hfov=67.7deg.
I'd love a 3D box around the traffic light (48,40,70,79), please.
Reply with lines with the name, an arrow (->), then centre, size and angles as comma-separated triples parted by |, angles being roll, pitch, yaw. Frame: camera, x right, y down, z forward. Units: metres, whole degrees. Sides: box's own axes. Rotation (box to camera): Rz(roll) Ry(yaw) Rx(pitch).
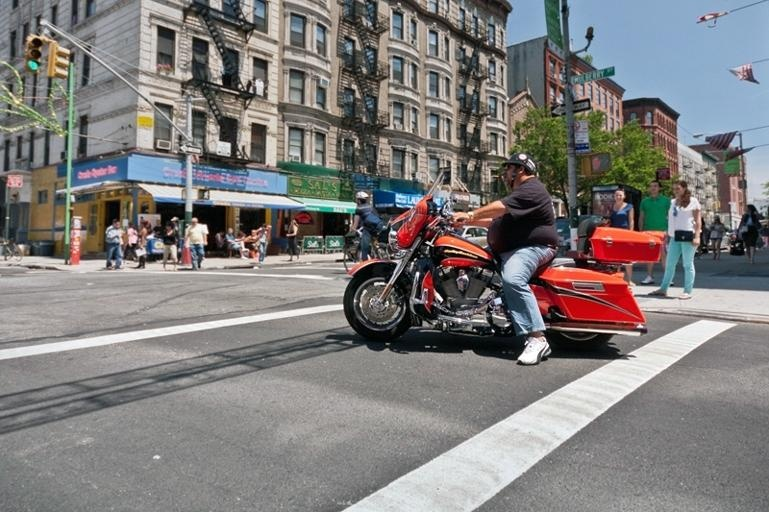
traffic light -> -9.256, -5.624, 16.284 | 0.559, 1.033, 1.001 | -7, 16, -29

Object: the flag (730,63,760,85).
flag -> 12.078, -6.172, 19.227 | 0.600, 0.571, 1.777 | 9, 17, 30

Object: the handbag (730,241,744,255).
handbag -> 15.606, -0.340, 25.267 | 0.585, 0.721, 0.605 | -6, 7, -18

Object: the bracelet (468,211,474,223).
bracelet -> 1.012, -0.465, 6.663 | 0.067, 0.111, 0.103 | 2, 37, 5

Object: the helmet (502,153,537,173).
helmet -> 1.669, -1.155, 7.041 | 0.347, 0.210, 0.256 | 12, -4, 11

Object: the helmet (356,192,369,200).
helmet -> -0.500, -1.448, 13.258 | 0.247, 0.244, 0.190 | -16, -14, 43

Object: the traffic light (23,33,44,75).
traffic light -> -9.244, -5.376, 15.123 | 0.475, 0.925, 0.659 | -7, 16, -27

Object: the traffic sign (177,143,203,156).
traffic sign -> -7.180, -3.999, 21.196 | 0.691, 0.488, 0.871 | -6, 16, -25

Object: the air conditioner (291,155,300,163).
air conditioner -> -4.708, -5.230, 30.682 | 0.557, 0.328, 0.407 | 6, -3, -9

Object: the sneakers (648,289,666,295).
sneakers -> 5.054, 0.690, 10.677 | 0.117, 0.159, 0.349 | 2, 1, -42

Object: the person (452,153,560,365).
person -> 1.557, 0.022, 6.848 | 1.005, 2.393, 1.209 | 5, 15, 17

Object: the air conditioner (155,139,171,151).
air conditioner -> -9.793, -4.923, 25.421 | 0.220, 0.453, 0.745 | 10, 17, 32

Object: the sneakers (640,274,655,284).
sneakers -> 5.755, 0.518, 12.400 | 0.454, 0.194, 0.152 | 3, -5, -44

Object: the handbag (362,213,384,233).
handbag -> -0.299, -0.779, 13.788 | 0.500, 0.366, 0.638 | 1, 27, -23
